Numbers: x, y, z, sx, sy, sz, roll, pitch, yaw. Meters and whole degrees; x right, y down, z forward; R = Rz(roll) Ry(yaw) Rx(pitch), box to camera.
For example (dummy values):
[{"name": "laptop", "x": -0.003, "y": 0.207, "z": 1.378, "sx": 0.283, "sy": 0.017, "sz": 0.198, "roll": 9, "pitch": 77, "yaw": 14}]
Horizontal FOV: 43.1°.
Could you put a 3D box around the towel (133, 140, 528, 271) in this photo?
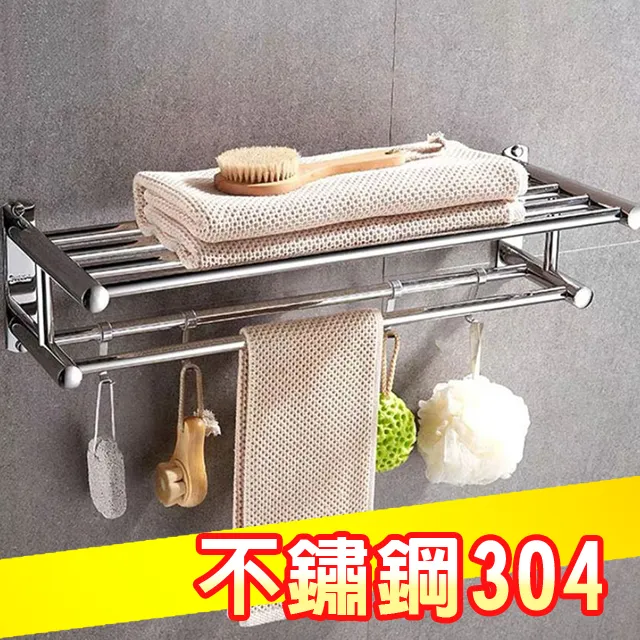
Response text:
[{"name": "towel", "x": 0.022, "y": -0.125, "z": 0.698, "sx": 0.267, "sy": 0.055, "sz": 0.141, "roll": -9, "pitch": 21, "yaw": -20}]

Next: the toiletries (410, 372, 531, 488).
[{"name": "toiletries", "x": 0.189, "y": 0.122, "z": 0.951, "sx": 0.156, "sy": 0.042, "sz": 0.139, "roll": 9, "pitch": 53, "yaw": 22}]

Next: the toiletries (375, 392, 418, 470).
[{"name": "toiletries", "x": 0.082, "y": 0.125, "z": 0.949, "sx": 0.043, "sy": 0.079, "sz": 0.078, "roll": 12, "pitch": 13, "yaw": 39}]

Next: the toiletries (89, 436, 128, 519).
[{"name": "toiletries", "x": -0.207, "y": 0.153, "z": 0.786, "sx": 0.022, "sy": 0.072, "sz": 0.048, "roll": -2, "pitch": 10, "yaw": 17}]
